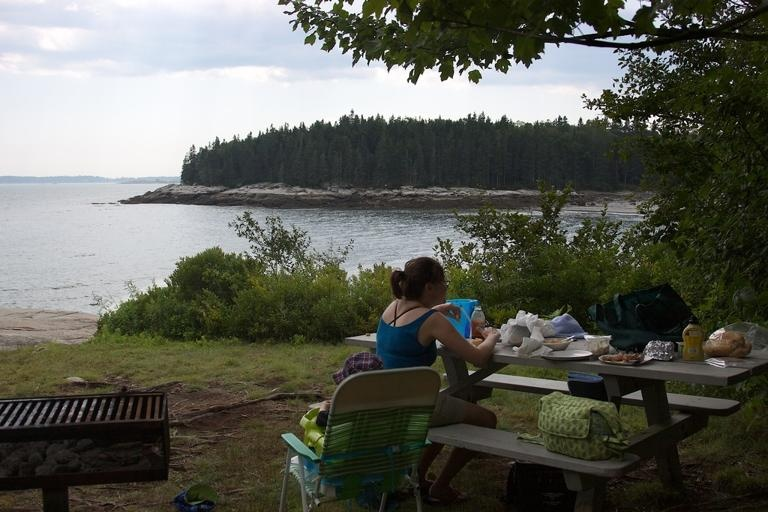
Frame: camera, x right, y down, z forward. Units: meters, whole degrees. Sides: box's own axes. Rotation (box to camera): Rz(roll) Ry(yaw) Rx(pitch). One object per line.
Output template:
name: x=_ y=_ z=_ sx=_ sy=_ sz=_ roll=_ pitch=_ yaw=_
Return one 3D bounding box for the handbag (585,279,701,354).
handbag: x=2.166 y=0.523 z=4.967 sx=0.642 sy=0.640 sz=0.273 roll=-21 pitch=-14 yaw=-2

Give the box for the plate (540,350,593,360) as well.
plate: x=1.481 y=0.792 z=4.769 sx=0.414 sy=0.041 sz=0.190 roll=-1 pitch=8 yaw=3

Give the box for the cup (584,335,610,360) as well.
cup: x=1.768 y=0.730 z=4.896 sx=0.146 sy=0.134 sz=0.181 roll=-1 pitch=-6 yaw=-2

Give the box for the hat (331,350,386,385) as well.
hat: x=-0.201 y=0.883 z=4.722 sx=0.355 sy=0.173 sz=0.238 roll=-11 pitch=-2 yaw=6

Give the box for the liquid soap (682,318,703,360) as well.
liquid soap: x=2.416 y=0.636 z=4.611 sx=0.152 sy=0.306 sz=0.217 roll=3 pitch=9 yaw=27

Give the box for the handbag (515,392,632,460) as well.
handbag: x=1.388 y=1.035 z=4.185 sx=0.363 sy=0.337 sz=0.691 roll=-8 pitch=7 yaw=-43
